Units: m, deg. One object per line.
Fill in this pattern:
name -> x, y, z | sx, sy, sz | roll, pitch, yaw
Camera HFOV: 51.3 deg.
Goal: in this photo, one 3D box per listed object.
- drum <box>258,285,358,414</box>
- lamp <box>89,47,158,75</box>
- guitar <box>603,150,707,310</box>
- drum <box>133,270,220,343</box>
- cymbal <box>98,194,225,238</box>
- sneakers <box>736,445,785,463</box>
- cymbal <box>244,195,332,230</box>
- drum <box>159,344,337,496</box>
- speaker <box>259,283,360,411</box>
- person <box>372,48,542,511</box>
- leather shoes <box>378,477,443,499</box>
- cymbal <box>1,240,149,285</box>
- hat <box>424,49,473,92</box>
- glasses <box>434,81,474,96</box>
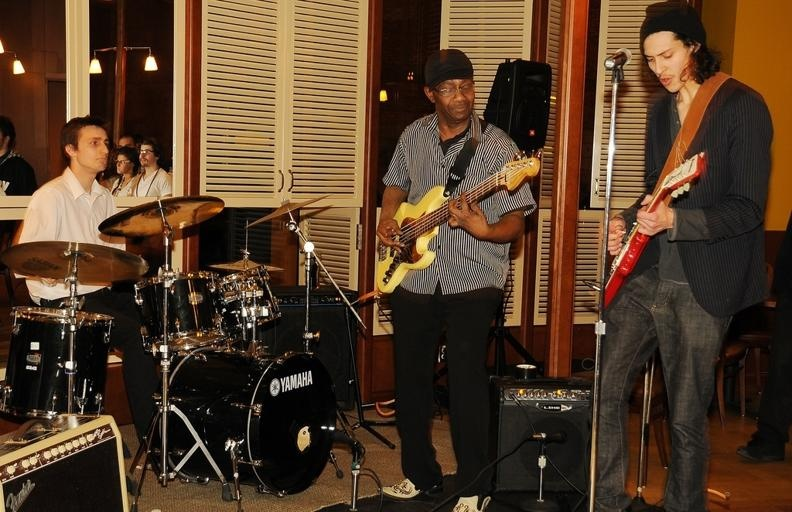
drum -> -0.594, 0.660, 6.042 | 0.766, 1.158, 0.691 | -1, 2, -18
lamp -> -1.851, -1.334, 5.621 | 0.437, 0.222, 0.057 | -1, 2, -25
guitar -> 1.350, -0.108, 4.268 | 0.214, 0.435, 1.112 | 17, -40, 2
drum -> -1.267, 0.325, 4.805 | 0.418, 0.422, 0.433 | -7, -6, -8
cymbal -> -1.344, -0.220, 4.677 | 0.379, 0.095, 0.392 | -26, -18, 15
sneakers -> 2.399, 1.309, 5.427 | 0.283, 0.133, 0.118 | 6, 2, -2
cymbal -> -0.738, -0.296, 5.610 | 0.545, 0.205, 1.105 | 0, 2, -10
drum -> -0.913, 0.940, 4.949 | 0.911, 0.878, 0.743 | 3, 5, 40
speaker -> -0.602, 0.652, 6.024 | 0.776, 1.177, 0.681 | -1, 1, -19
person -> 0.323, 0.150, 4.638 | 0.881, 2.598, 0.486 | 1, 2, 12
leather shoes -> 0.085, 1.362, 4.809 | 0.357, 0.138, 0.137 | 3, -5, -4
cymbal -> -1.758, 0.033, 4.542 | 0.420, 0.104, 0.417 | 20, -35, -35
hat -> 0.275, -1.019, 4.617 | 0.211, 0.153, 0.229 | -18, 4, -8
glasses -> 0.319, -0.922, 4.535 | 0.205, 0.097, 0.060 | 0, 2, 2
